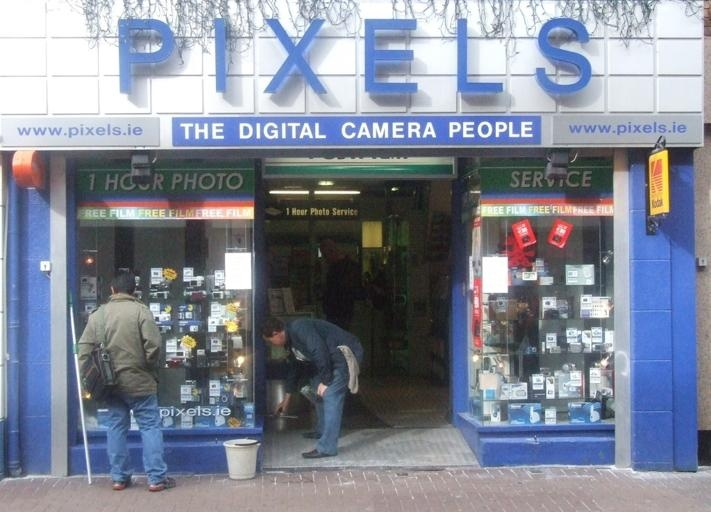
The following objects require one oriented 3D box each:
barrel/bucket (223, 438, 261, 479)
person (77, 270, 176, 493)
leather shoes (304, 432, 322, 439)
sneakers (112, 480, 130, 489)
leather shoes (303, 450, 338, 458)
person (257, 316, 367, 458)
[{"bbox_3d":[-1.231,2.297,10.737,0.446,0.394,0.413,-2,-6,0],"label":"barrel/bucket"},{"bbox_3d":[-2.463,1.521,10.293,0.964,2.058,0.343,0,-4,-13],"label":"person"},{"bbox_3d":[-0.535,2.235,11.842,0.219,0.085,0.085,4,-2,8],"label":"leather shoes"},{"bbox_3d":[-2.538,2.494,10.380,0.077,0.092,0.219,5,6,14],"label":"sneakers"},{"bbox_3d":[-0.408,2.298,11.199,0.365,0.107,0.138,4,-6,-12],"label":"leather shoes"},{"bbox_3d":[-0.464,1.558,11.311,1.070,1.639,0.576,-1,-4,0],"label":"person"}]
